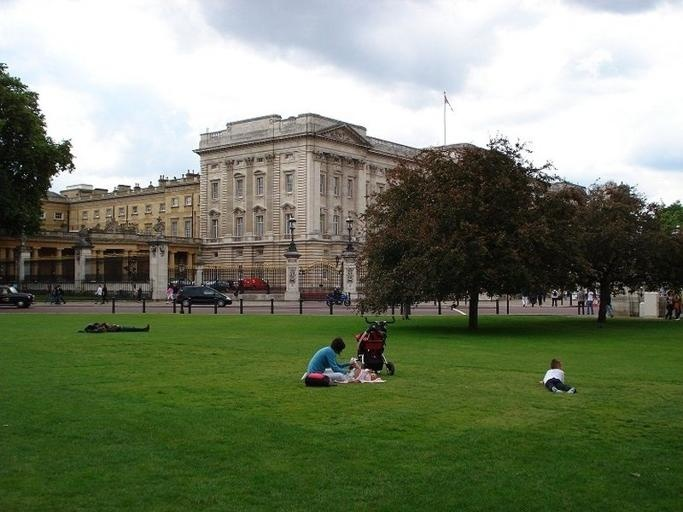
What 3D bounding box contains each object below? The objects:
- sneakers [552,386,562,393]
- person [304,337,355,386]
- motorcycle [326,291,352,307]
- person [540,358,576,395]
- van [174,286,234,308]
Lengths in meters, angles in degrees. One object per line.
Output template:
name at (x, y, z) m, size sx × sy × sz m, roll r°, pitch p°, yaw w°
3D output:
sneakers at (4.288, 2.653, 14.916) m, size 0.088 × 0.062 × 0.213 m, roll -23°, pitch -11°, yaw 37°
person at (-0.243, 2.249, 15.477) m, size 0.958 × 0.647 × 1.007 m, roll -4°, pitch 5°, yaw -25°
motorcycle at (0.105, 2.751, 48.524) m, size 1.734 × 0.912 × 0.792 m, roll -2°, pitch 0°, yaw 19°
person at (4.367, 2.473, 15.254) m, size 0.335 × 0.289 × 0.823 m, roll 1°, pitch 15°, yaw 5°
van at (-8.837, 2.860, 48.008) m, size 3.528 × 1.231 × 1.843 m, roll -2°, pitch -1°, yaw -5°
